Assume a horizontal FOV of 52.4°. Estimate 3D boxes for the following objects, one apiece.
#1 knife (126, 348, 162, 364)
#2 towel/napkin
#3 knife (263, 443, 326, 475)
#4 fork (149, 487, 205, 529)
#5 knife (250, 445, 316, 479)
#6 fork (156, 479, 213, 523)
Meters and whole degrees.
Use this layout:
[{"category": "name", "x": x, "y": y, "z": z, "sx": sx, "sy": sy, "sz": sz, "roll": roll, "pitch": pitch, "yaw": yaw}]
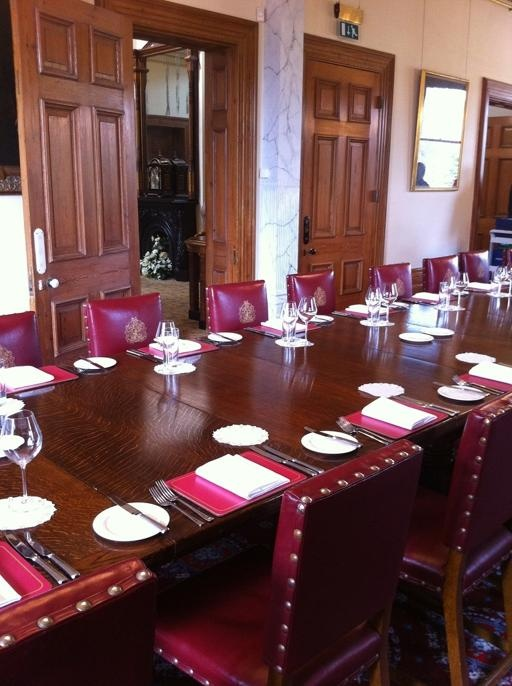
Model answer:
[{"category": "knife", "x": -0.487, "y": 0.054, "z": 2.242, "sx": 0.063, "sy": 0.017, "sz": 0.237, "roll": -11, "pitch": 16, "yaw": -26}, {"category": "towel/napkin", "x": -0.035, "y": 0.304, "z": 1.191, "sx": 0.097, "sy": 0.015, "sz": 0.113, "roll": -17, "pitch": 25, "yaw": -40}, {"category": "knife", "x": 0.091, "y": 0.271, "z": 1.282, "sx": 0.192, "sy": 0.011, "sz": 0.047, "roll": 12, "pitch": 22, "yaw": 43}, {"category": "fork", "x": -0.172, "y": 0.328, "z": 1.102, "sx": 0.042, "sy": 0.029, "sz": 0.206, "roll": -13, "pitch": 25, "yaw": -32}, {"category": "knife", "x": 0.067, "y": 0.289, "z": 1.300, "sx": 0.197, "sy": 0.009, "sz": 0.052, "roll": 13, "pitch": 22, "yaw": 41}, {"category": "fork", "x": -0.157, "y": 0.333, "z": 1.096, "sx": 0.160, "sy": 0.023, "sz": 0.047, "roll": 28, "pitch": 31, "yaw": 35}]
